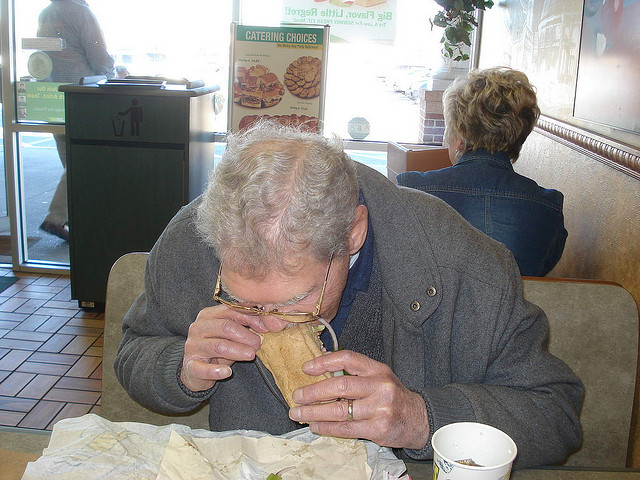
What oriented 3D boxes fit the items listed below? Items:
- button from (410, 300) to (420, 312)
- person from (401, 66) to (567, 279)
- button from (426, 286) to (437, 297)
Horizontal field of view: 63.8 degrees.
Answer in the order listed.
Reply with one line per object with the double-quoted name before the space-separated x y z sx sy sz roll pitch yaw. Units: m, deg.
"button" 0.265 0.186 1.442 0.027 0.028 0.007 -19 -16 27
"person" 0.727 -0.229 2.443 0.656 1.087 0.767 -2 4 -41
"button" 0.310 0.144 1.432 0.029 0.030 0.008 2 15 12
